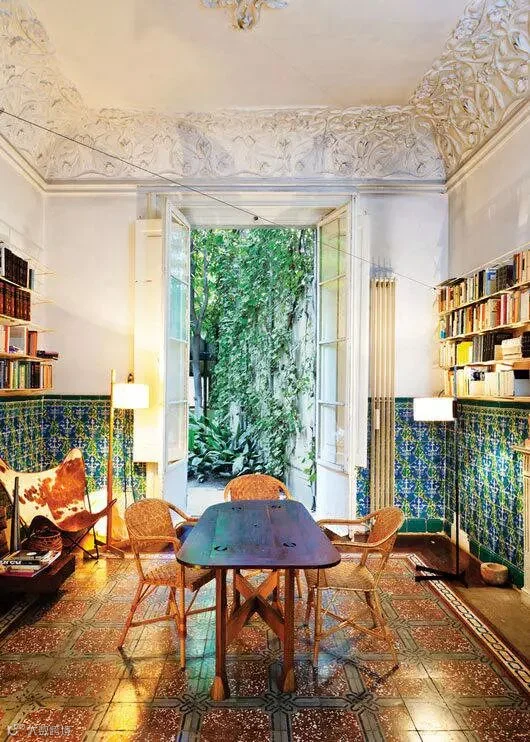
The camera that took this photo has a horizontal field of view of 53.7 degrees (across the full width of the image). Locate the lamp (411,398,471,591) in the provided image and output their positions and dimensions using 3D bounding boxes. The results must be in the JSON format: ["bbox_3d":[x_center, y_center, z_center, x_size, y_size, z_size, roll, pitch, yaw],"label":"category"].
[{"bbox_3d":[1.387,0.881,4.159,0.361,1.333,1.037,0,-3,19],"label":"lamp"}]
